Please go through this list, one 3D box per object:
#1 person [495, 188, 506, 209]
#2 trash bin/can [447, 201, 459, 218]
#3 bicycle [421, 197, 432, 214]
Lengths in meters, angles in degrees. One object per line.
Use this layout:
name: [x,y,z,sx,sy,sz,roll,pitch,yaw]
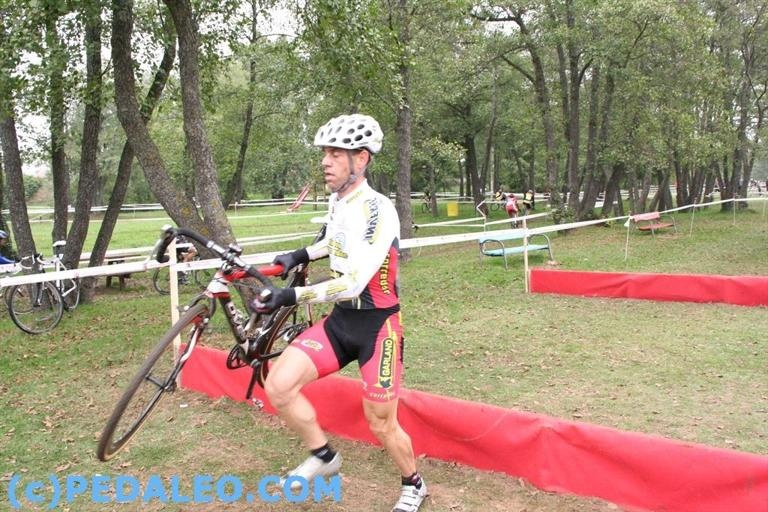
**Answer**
person: [7.311,-3.715,39.955,0.680,0.889,1.530,2,4,18]
trash bin/can: [4.019,-2.742,37.433,0.965,1.320,0.948,0,6,6]
bicycle: [2.778,-3.257,42.003,0.570,0.700,1.138,-1,1,12]
